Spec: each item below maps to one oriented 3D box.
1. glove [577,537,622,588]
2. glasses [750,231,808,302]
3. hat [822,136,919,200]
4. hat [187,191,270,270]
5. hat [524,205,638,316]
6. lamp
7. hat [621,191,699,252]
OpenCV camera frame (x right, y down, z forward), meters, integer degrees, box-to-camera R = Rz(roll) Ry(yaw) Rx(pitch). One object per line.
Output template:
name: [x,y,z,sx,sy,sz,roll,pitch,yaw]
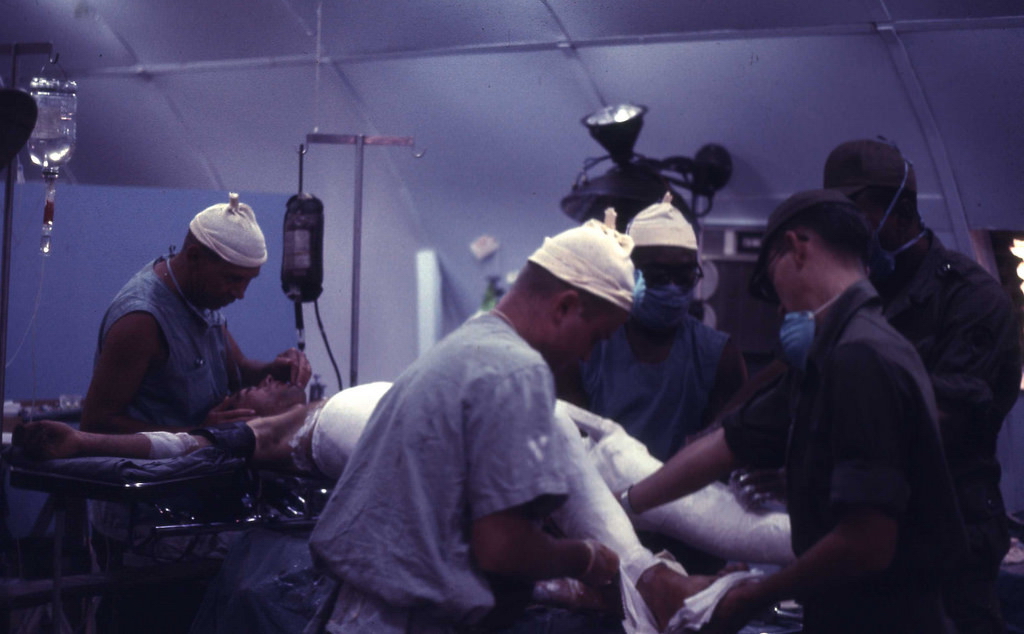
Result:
glove: [0.375,1.042,4.463,0.208,0.212,0.156,6,5,-45]
glasses: [1.150,-0.224,4.688,0.194,0.269,0.110,10,18,14]
hat: [1.808,-0.747,5.263,0.405,0.226,0.295,-2,7,-2]
hat: [-1.541,-0.474,5.746,0.395,0.318,0.389,18,14,7]
hat: [0.321,-0.210,4.432,0.442,0.356,0.342,27,2,1]
lamp: [0.666,-1.017,6.478,0.506,0.328,0.853,-10,-8,1]
hat: [0.796,-0.461,5.410,0.243,0.273,0.357,14,11,-30]
